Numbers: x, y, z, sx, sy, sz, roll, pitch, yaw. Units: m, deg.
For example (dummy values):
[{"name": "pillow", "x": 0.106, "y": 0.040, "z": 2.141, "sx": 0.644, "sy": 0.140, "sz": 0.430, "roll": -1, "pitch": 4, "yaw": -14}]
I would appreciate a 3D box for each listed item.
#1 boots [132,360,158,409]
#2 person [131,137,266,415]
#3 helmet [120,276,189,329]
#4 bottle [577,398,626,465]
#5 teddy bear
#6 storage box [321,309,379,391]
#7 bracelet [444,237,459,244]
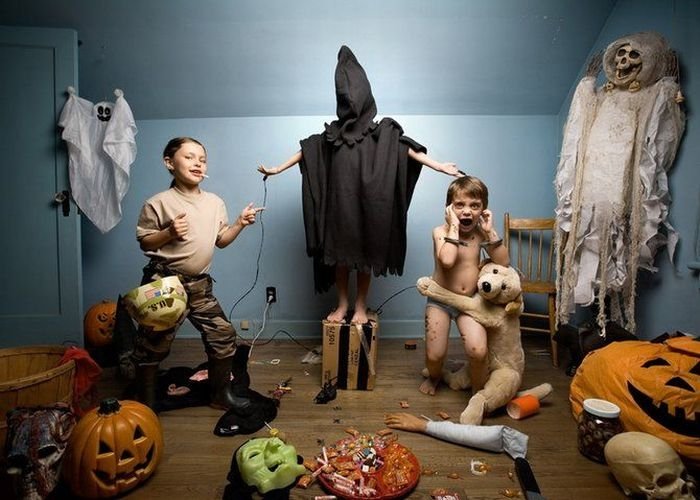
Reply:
[{"name": "boots", "x": -1.182, "y": 0.794, "z": 3.220, "sx": 0.123, "sy": 0.274, "sz": 0.199, "roll": -2, "pitch": 6, "yaw": -23}, {"name": "person", "x": -0.897, "y": 0.145, "z": 3.228, "sx": 0.685, "sy": 1.597, "sz": 0.418, "roll": -3, "pitch": 6, "yaw": -25}, {"name": "helmet", "x": -1.072, "y": 0.361, "z": 3.126, "sx": 0.312, "sy": 0.300, "sz": 0.367, "roll": -9, "pitch": -15, "yaw": -31}, {"name": "bottle", "x": 1.325, "y": 0.966, "z": 2.910, "sx": 0.211, "sy": 0.301, "sz": 0.143, "roll": 3, "pitch": 6, "yaw": 29}, {"name": "teddy bear", "x": 0.834, "y": 0.539, "z": 3.300, "sx": 0.738, "sy": 1.015, "sz": 0.596, "roll": 2, "pitch": 8, "yaw": 5}, {"name": "storage box", "x": 0.019, "y": 0.673, "z": 3.639, "sx": 0.372, "sy": 0.415, "sz": 0.391, "roll": 1, "pitch": 1, "yaw": 3}, {"name": "bracelet", "x": 0.602, "y": -0.051, "z": 3.233, "sx": 0.083, "sy": 0.044, "sz": 0.025, "roll": 1, "pitch": 6, "yaw": 10}]
